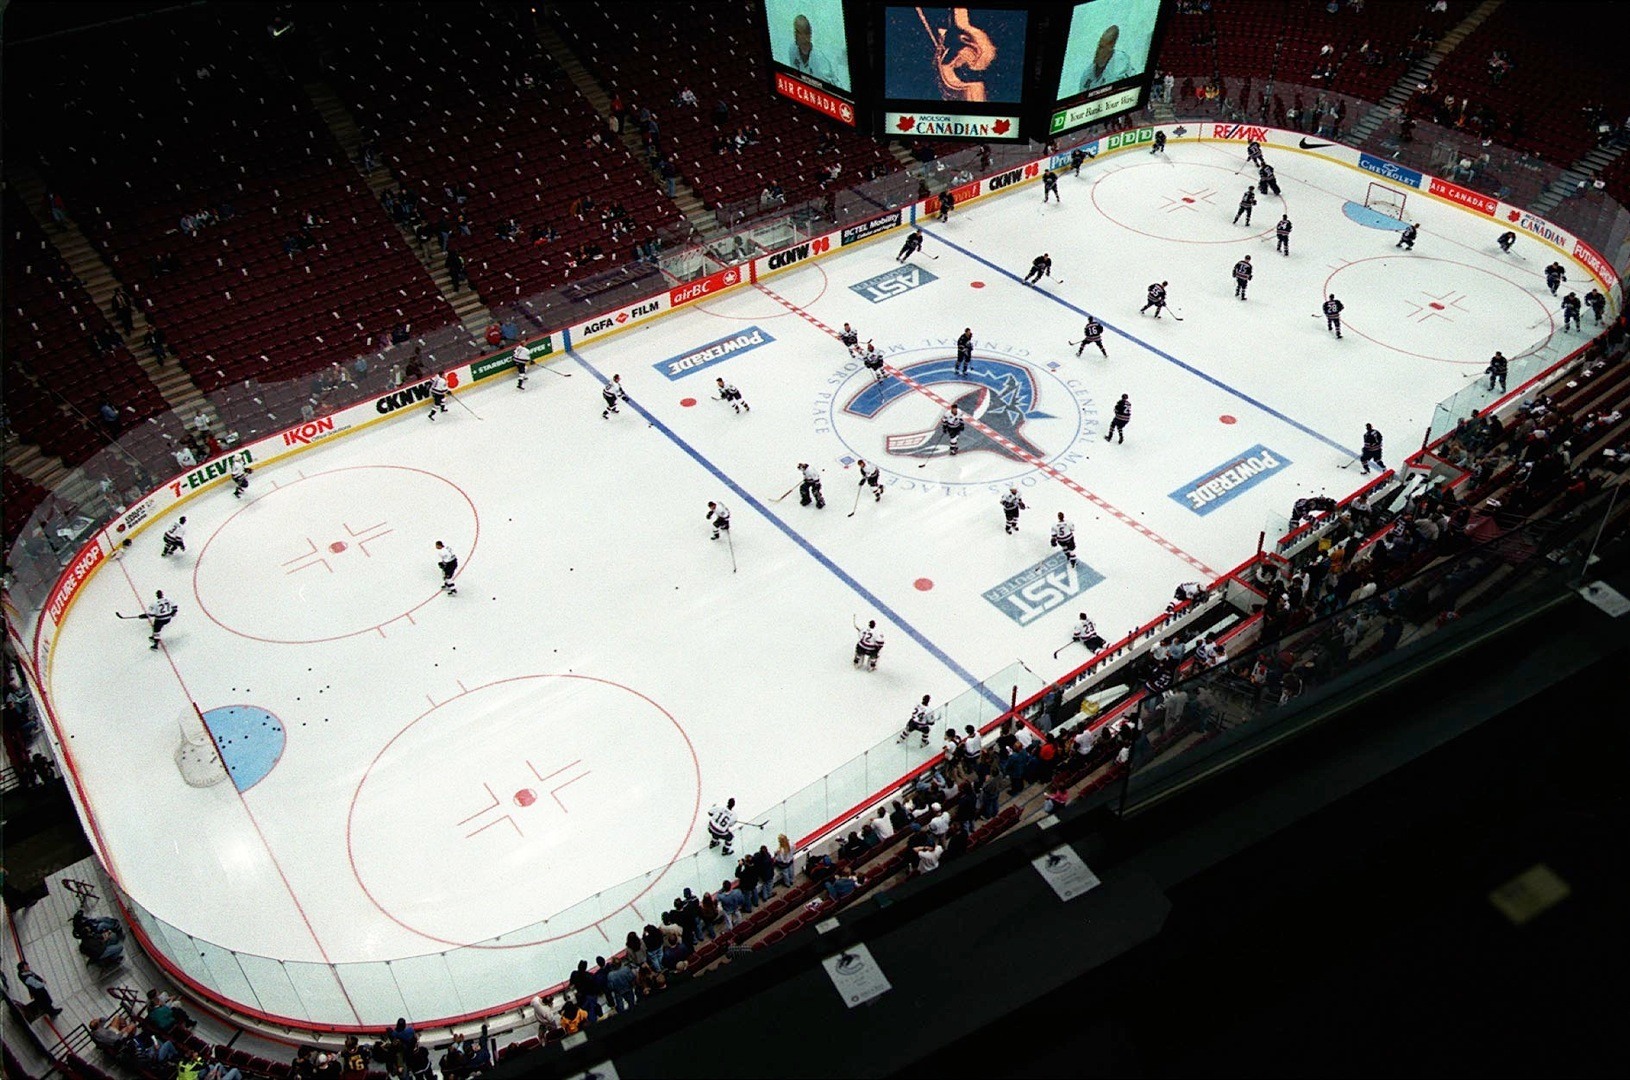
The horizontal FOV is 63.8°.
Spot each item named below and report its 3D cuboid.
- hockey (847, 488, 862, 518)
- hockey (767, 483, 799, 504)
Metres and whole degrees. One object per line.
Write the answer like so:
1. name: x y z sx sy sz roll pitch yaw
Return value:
1. hockey: 1.026 -0.926 33.548 0.085 0.162 1.071 0 43 25
2. hockey: -0.740 -1.147 33.945 0.909 0.156 0.383 -33 54 -20
